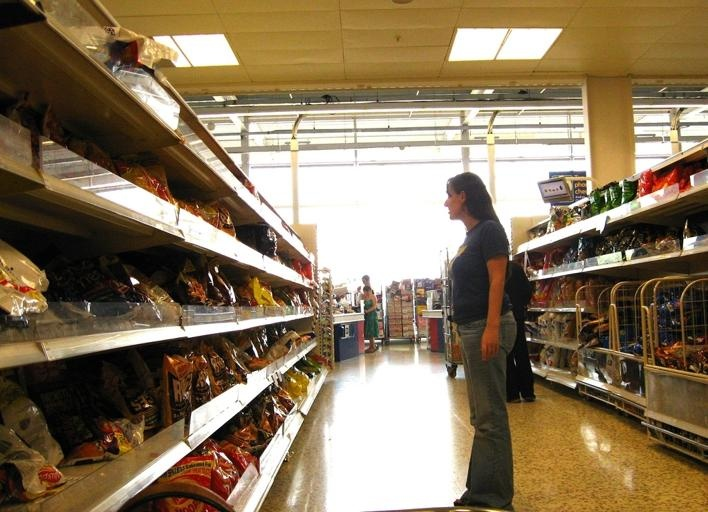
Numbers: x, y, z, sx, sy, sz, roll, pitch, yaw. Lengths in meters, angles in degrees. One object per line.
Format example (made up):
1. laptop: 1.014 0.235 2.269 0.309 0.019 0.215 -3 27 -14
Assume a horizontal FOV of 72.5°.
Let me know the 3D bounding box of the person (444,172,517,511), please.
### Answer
1. person: 0.682 0.421 2.647 0.417 1.836 0.336 -6 -11 11
